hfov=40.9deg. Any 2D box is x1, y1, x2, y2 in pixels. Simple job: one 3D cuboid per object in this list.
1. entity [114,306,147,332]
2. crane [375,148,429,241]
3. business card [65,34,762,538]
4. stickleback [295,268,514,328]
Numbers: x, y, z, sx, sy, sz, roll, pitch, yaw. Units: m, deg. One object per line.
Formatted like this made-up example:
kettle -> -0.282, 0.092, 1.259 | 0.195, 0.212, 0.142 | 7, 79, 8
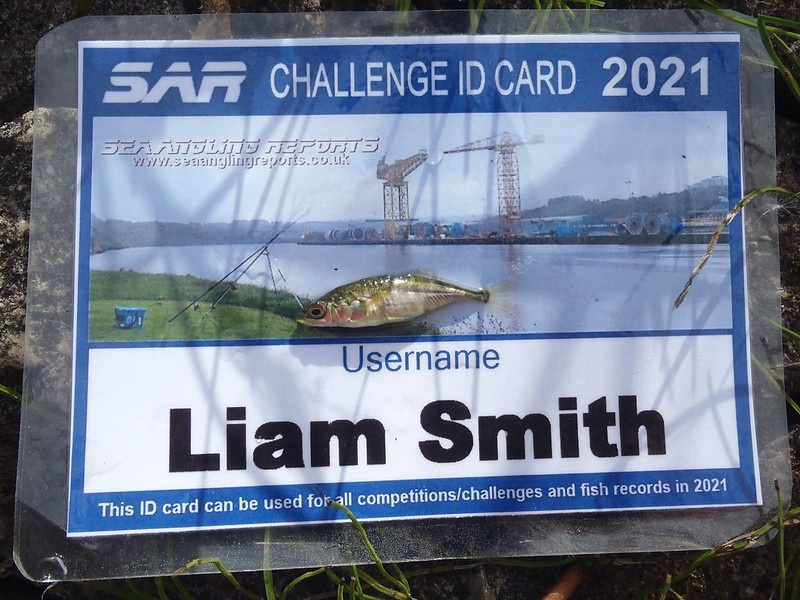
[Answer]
entity -> -0.684, 0.046, 2.711 | 0.054, 0.062, 0.052 | 0, 93, 1
crane -> 0.004, -0.257, 2.726 | 0.170, 0.081, 0.257 | 0, 87, -6
business card -> 0.031, -0.054, 2.725 | 1.743, 0.315, 1.177 | -1, 74, -1
stickleback -> 0.020, 0.009, 2.748 | 0.526, 0.186, 0.150 | -5, 58, -4
